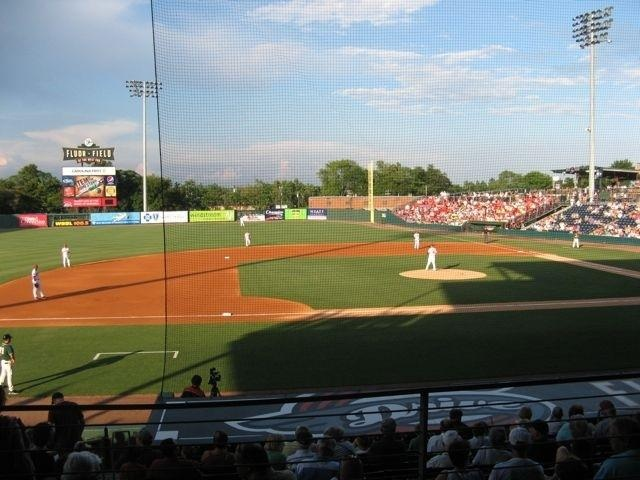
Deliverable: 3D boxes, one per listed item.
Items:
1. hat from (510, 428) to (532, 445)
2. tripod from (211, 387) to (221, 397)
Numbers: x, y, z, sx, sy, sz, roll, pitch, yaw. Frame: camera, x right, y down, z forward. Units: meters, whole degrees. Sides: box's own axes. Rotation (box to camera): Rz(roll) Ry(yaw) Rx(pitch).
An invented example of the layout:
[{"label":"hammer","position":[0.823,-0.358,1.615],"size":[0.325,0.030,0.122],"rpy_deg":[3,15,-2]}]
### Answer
[{"label":"hat","position":[4.481,4.486,18.527],"size":[0.459,0.339,0.525],"rpy_deg":[1,11,12]},{"label":"tripod","position":[-2.915,4.231,22.670],"size":[0.251,0.338,0.325],"rpy_deg":[3,19,-4]}]
